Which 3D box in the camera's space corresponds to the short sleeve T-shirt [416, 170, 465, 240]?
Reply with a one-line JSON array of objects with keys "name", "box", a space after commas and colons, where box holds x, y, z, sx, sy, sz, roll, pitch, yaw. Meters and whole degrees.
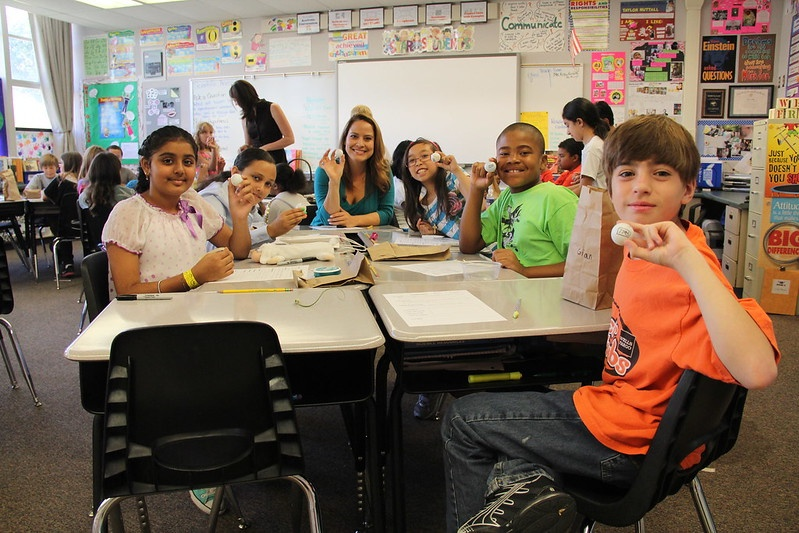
[{"name": "short sleeve T-shirt", "box": [0.307, -0.347, 3.371, 0.334, 0.410, 0.222, 28, 46, 35]}]

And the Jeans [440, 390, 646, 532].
[{"name": "Jeans", "box": [0.406, 0.529, 1.613, 0.530, 0.204, 0.334, -2, 14, -16]}]

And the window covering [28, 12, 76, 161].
[{"name": "window covering", "box": [-4.753, -2.305, 7.830, 0.255, 2.340, 0.497, 14, 23, 33]}]

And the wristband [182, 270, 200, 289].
[{"name": "wristband", "box": [-0.795, 0.047, 2.118, 0.040, 0.065, 0.064, -25, 7, -16]}]

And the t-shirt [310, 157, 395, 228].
[{"name": "t-shirt", "box": [-0.281, -0.511, 3.873, 0.495, 0.462, 0.290, 6, 49, -10]}]

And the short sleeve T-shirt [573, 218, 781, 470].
[{"name": "short sleeve T-shirt", "box": [0.678, 0.225, 1.572, 0.383, 0.600, 0.618, 1, 7, -8]}]

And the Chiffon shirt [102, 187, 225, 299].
[{"name": "Chiffon shirt", "box": [-0.979, -0.110, 2.382, 0.270, 0.388, 0.474, 13, 18, 43]}]
